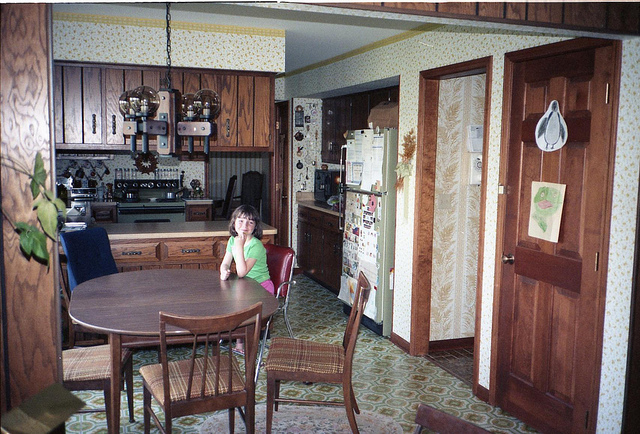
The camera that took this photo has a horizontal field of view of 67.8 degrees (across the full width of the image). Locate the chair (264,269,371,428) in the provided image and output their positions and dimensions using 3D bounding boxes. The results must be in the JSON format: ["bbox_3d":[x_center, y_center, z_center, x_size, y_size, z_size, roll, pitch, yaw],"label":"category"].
[{"bbox_3d":[-0.045,0.974,3.859,0.795,1.253,1.213,2,11,-1],"label":"chair"}]

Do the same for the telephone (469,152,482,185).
[{"bbox_3d":[1.626,-0.513,4.987,0.119,0.321,0.069,0,11,-7],"label":"telephone"}]

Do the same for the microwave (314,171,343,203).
[{"bbox_3d":[0.136,-0.459,7.023,0.292,0.533,0.509,6,0,-18],"label":"microwave"}]

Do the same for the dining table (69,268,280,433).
[{"bbox_3d":[-1.183,0.623,3.592,1.411,0.776,1.193,-1,7,-18],"label":"dining table"}]

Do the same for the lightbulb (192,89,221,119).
[{"bbox_3d":[-0.935,-0.960,4.095,0.241,0.283,0.242,5,6,33],"label":"lightbulb"}]

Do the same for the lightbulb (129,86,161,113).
[{"bbox_3d":[-1.451,-0.956,3.910,0.250,0.283,0.257,-3,8,-30],"label":"lightbulb"}]

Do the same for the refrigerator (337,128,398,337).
[{"bbox_3d":[0.563,0.137,5.559,0.329,2.334,1.022,-4,13,-29],"label":"refrigerator"}]

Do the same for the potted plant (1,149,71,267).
[{"bbox_3d":[-1.541,-0.042,2.557,0.363,0.628,0.156,0,11,-7],"label":"potted plant"}]
